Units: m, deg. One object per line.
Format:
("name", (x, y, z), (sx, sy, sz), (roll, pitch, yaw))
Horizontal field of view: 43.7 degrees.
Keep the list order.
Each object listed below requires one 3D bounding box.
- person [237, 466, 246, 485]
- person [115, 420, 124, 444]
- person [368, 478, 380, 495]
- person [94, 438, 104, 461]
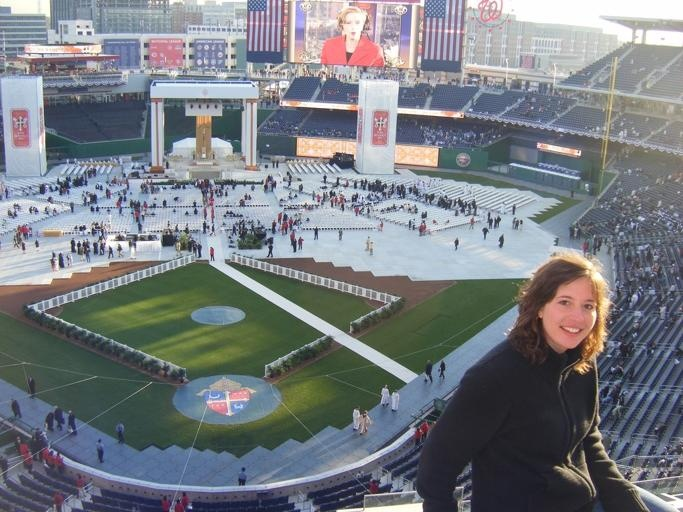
("person", (-5.117, 11.444, 44.338), (0.461, 0.790, 1.333), (5, 10, -8))
("person", (-12.234, 9.707, 47.339), (0.486, 1.050, 1.239), (4, 11, -15))
("person", (1.585, 11.552, 42.426), (0.325, 0.774, 0.408), (13, 27, 25))
("person", (-12.952, 10.404, 45.849), (0.372, 1.058, 1.094), (3, 11, -18))
